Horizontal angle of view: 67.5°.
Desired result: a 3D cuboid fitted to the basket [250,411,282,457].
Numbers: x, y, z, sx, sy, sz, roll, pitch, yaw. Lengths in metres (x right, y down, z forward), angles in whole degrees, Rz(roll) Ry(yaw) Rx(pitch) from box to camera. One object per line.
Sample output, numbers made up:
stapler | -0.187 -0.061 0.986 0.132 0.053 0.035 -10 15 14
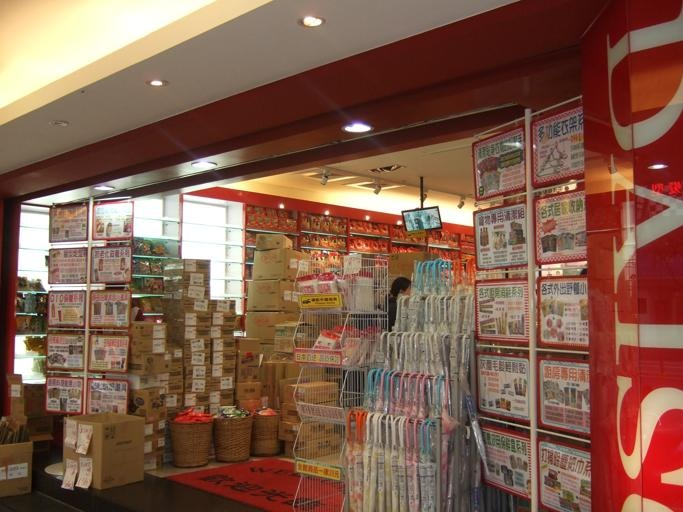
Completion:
basket | -0.891 2.203 6.407 0.491 0.479 0.465 -1 -4 19

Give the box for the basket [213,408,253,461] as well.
basket | -1.270 2.162 6.209 0.540 0.553 0.550 2 -10 -15

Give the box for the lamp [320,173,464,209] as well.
lamp | 0.841 -1.267 10.808 0.487 0.267 3.151 -22 -21 36

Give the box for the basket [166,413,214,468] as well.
basket | -1.753 2.174 6.051 0.552 0.550 0.540 -12 -16 35

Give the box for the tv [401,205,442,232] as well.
tv | 1.489 -0.686 9.522 0.821 0.433 0.341 -4 -9 40

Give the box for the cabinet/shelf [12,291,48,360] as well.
cabinet/shelf | -4.312 0.873 7.276 0.475 0.741 0.262 -1 -5 0
